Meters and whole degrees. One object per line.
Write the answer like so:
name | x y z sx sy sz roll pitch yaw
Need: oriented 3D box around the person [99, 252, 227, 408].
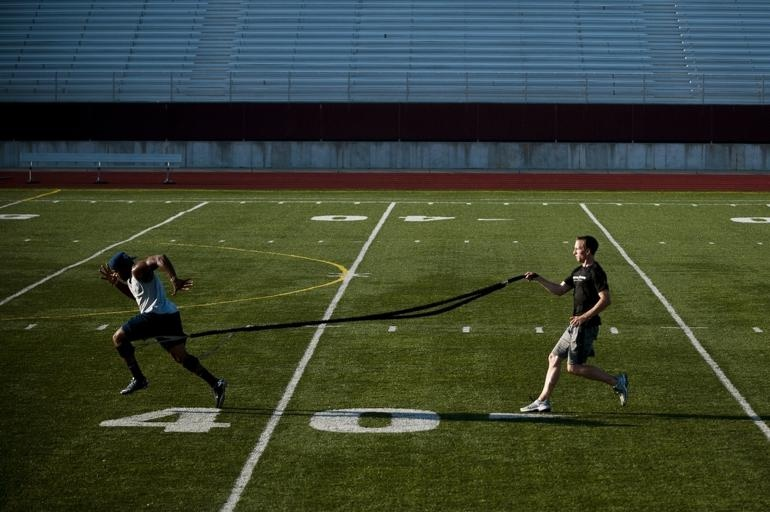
person | -2.817 0.894 9.291 1.076 1.980 1.394 -13 23 -25

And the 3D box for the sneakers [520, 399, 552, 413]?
sneakers | 1.830 1.832 9.139 0.440 0.134 0.139 1 -3 5

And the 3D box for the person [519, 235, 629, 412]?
person | 2.323 0.868 9.017 1.214 2.155 0.878 -14 24 -26

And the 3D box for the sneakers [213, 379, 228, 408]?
sneakers | -2.027 1.680 9.281 0.240 0.377 0.152 1 13 -9

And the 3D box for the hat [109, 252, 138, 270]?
hat | -3.232 0.044 9.180 0.292 0.200 0.409 -8 19 -20
